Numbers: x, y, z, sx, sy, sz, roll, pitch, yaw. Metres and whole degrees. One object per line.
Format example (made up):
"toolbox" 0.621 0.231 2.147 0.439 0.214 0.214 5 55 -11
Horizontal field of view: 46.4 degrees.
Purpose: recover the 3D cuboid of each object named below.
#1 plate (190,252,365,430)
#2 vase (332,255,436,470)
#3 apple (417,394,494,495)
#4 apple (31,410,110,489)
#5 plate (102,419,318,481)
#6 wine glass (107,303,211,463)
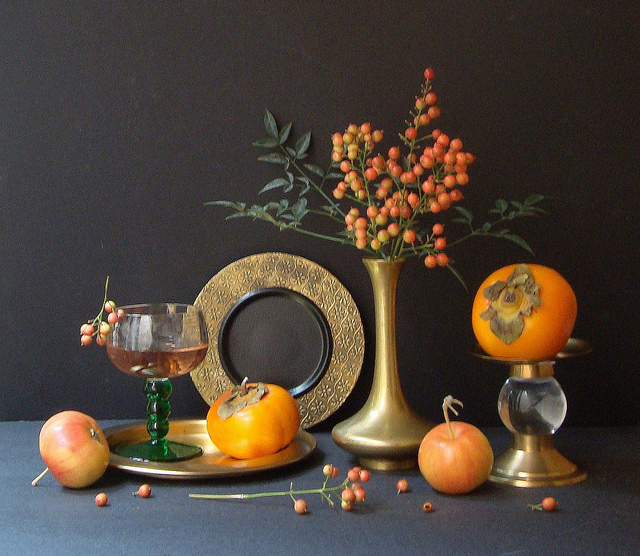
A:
"plate" -0.094 0.120 1.654 0.384 0.060 0.460 -3 50 -19
"vase" 0.131 0.170 1.488 0.206 0.417 0.203 0 0 -37
"apple" 0.241 0.299 1.334 0.111 0.179 0.121 -12 15 -19
"apple" -0.442 0.310 1.337 0.115 0.128 0.078 -4 13 -21
"plate" -0.230 0.333 1.456 0.438 0.049 0.275 2 13 5
"wine glass" -0.327 0.199 1.508 0.190 0.316 0.192 1 4 34
